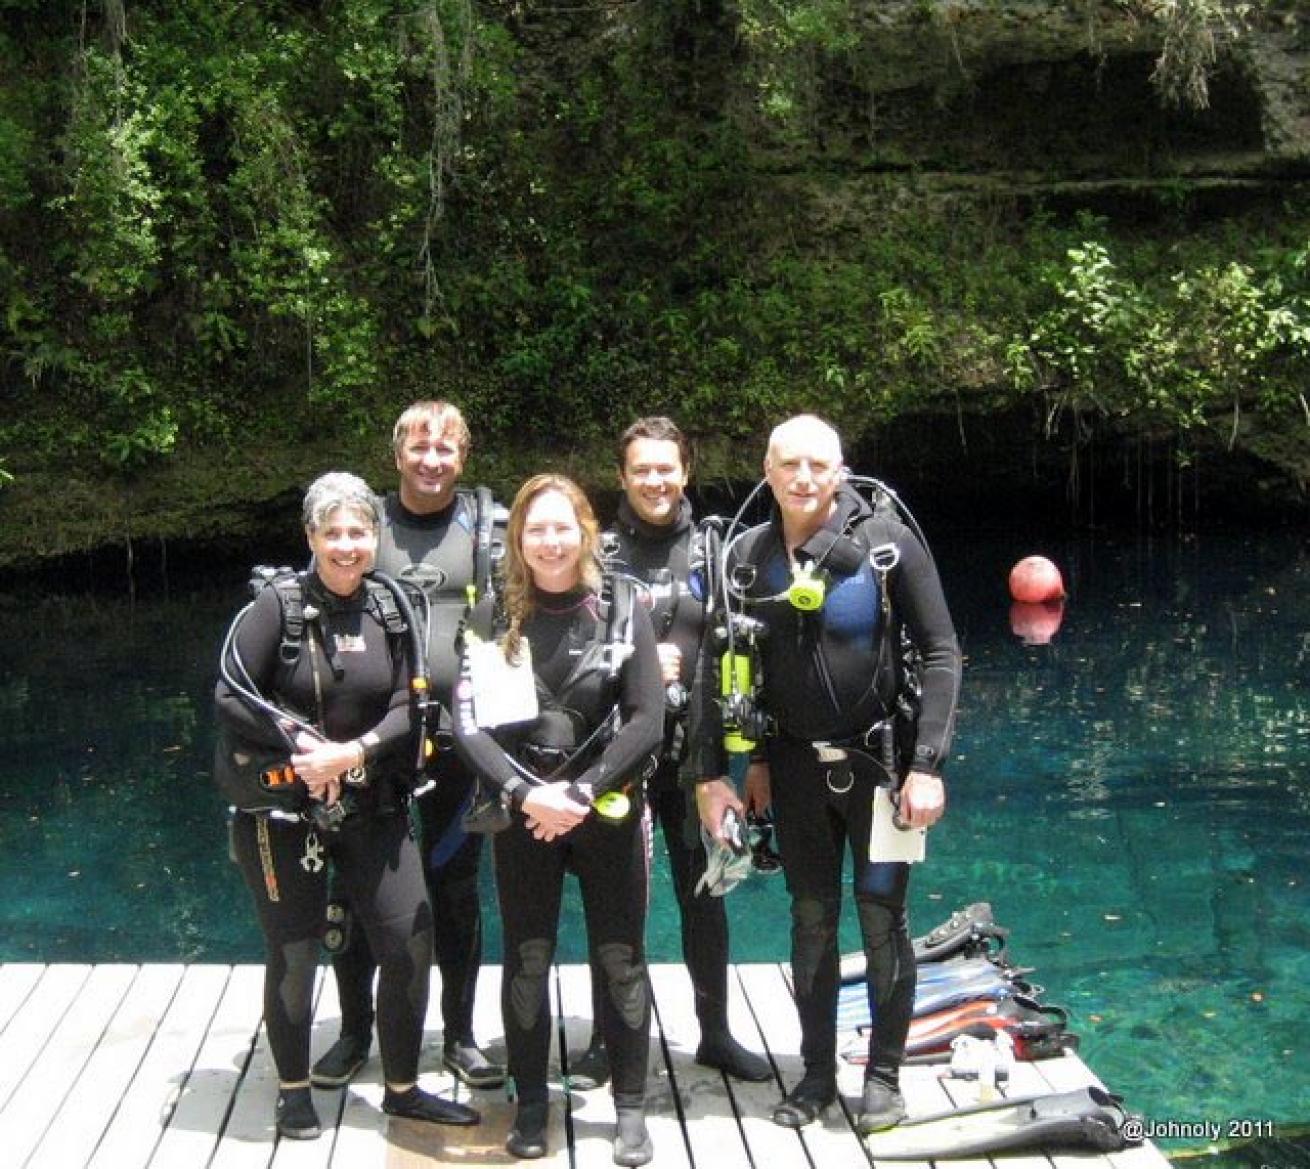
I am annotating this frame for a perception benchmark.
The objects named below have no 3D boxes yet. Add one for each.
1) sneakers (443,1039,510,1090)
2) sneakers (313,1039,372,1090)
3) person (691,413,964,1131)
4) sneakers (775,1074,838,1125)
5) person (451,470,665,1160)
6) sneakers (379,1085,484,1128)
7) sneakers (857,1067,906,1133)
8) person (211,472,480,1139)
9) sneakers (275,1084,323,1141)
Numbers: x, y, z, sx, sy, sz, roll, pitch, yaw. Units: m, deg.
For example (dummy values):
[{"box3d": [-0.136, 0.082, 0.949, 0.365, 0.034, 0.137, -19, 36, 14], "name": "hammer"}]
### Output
[{"box3d": [-0.553, 1.534, 4.110, 0.102, 0.073, 0.201, -6, 4, -36], "name": "sneakers"}, {"box3d": [-0.980, 1.521, 4.072, 0.080, 0.082, 0.210, 0, -5, 11], "name": "sneakers"}, {"box3d": [0.514, 0.550, 3.936, 0.768, 2.085, 0.762, 4, 14, 24], "name": "person"}, {"box3d": [0.452, 1.548, 3.853, 0.195, 0.182, 0.094, 23, -42, -28], "name": "sneakers"}, {"box3d": [-0.255, 0.672, 3.762, 0.599, 1.927, 0.667, -2, 13, 0], "name": "person"}, {"box3d": [-0.665, 1.570, 3.912, 0.316, 0.122, 0.116, 2, 5, -3], "name": "sneakers"}, {"box3d": [0.669, 1.531, 3.820, 0.148, 0.134, 0.139, 0, 13, 6], "name": "sneakers"}, {"box3d": [-0.942, 0.666, 3.831, 0.619, 1.927, 0.617, -7, 14, -20], "name": "person"}, {"box3d": [-1.038, 1.553, 3.780, 0.095, 0.116, 0.173, 5, -17, -33], "name": "sneakers"}]
